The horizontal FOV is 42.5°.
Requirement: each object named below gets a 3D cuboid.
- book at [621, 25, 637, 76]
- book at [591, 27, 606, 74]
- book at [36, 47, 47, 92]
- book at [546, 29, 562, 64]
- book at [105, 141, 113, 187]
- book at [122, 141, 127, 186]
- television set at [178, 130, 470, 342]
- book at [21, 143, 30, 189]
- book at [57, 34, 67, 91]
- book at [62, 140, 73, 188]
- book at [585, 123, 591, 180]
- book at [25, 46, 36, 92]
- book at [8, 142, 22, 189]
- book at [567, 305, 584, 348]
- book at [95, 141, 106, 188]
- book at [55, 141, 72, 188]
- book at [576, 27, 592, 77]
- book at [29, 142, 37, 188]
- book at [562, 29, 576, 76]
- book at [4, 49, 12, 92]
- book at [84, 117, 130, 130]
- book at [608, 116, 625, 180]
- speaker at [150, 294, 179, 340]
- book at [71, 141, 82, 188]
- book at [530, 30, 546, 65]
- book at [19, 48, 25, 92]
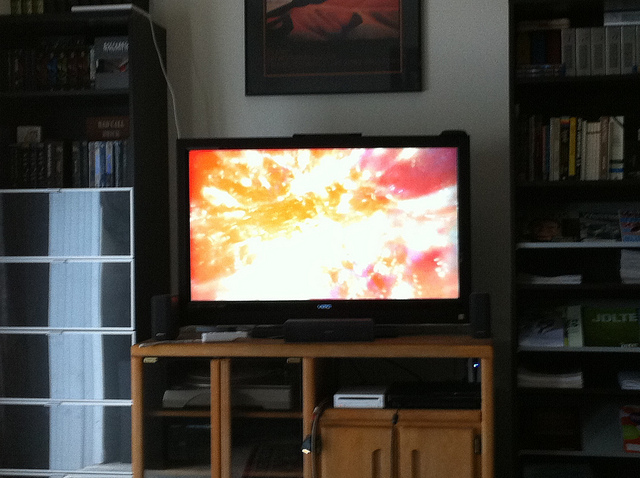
[{"bbox_3d":[1.431,-0.885,3.802,0.069,0.026,0.221,2,-85,0],"label":"book"},{"bbox_3d":[1.296,-0.870,3.829,0.078,0.021,0.209,-7,-79,-17],"label":"book"},{"bbox_3d":[-1.411,-0.865,4.142,0.048,0.023,0.225,-1,-78,-19],"label":"book"},{"bbox_3d":[1.109,-0.914,3.886,0.074,0.018,0.177,9,-53,28],"label":"book"},{"bbox_3d":[-1.046,-0.373,4.056,0.036,0.156,0.164,2,-88,-7],"label":"book"},{"bbox_3d":[-0.967,-0.376,4.051,0.027,0.037,0.219,0,-85,1],"label":"book"},{"bbox_3d":[0.048,-0.026,3.955,0.935,0.254,0.754,0,-95,3],"label":"television set"},{"bbox_3d":[-1.473,-0.369,4.093,0.051,0.016,0.237,0,-91,-5],"label":"book"},{"bbox_3d":[-1.307,-0.902,4.134,0.060,0.030,0.276,-13,-40,-26],"label":"book"},{"bbox_3d":[-1.302,-0.375,4.227,0.068,0.483,0.105,-1,-104,-17],"label":"book"},{"bbox_3d":[1.257,-0.415,3.840,0.017,0.026,0.260,2,-85,0],"label":"book"},{"bbox_3d":[-1.465,-0.859,4.141,0.056,0.019,0.205,0,-85,0],"label":"book"},{"bbox_3d":[-1.529,-0.370,4.102,0.082,0.046,0.219,1,-85,0],"label":"book"},{"bbox_3d":[1.207,0.415,3.902,0.072,0.235,0.057,-6,-41,20],"label":"book"},{"bbox_3d":[-1.084,-0.370,4.044,0.041,0.173,0.174,1,-85,-6],"label":"book"},{"bbox_3d":[-1.332,-0.383,4.185,0.092,0.289,0.253,3,-83,-10],"label":"book"},{"bbox_3d":[1.233,-0.879,3.829,0.071,0.031,0.214,0,-85,0],"label":"book"},{"bbox_3d":[-1.428,-0.371,4.076,0.042,0.012,0.217,0,-85,0],"label":"book"},{"bbox_3d":[1.166,-0.881,3.841,0.055,0.034,0.210,-2,-85,1],"label":"book"},{"bbox_3d":[-1.584,-0.858,4.163,0.045,0.023,0.203,0,-85,0],"label":"book"},{"bbox_3d":[-1.118,-0.609,4.295,0.193,0.014,0.074,-3,-85,6],"label":"book"},{"bbox_3d":[1.417,-0.432,3.849,0.069,0.091,0.303,4,-88,-37],"label":"book"},{"bbox_3d":[-0.737,0.382,3.913,0.126,0.123,0.191,-2,-81,-7],"label":"speaker"},{"bbox_3d":[-1.215,-0.371,4.092,0.047,0.055,0.249,-2,-86,-19],"label":"book"},{"bbox_3d":[1.044,-0.918,3.903,0.078,0.018,0.193,6,-44,23],"label":"book"},{"bbox_3d":[-1.510,-0.858,4.147,0.029,0.027,0.209,1,-85,0],"label":"book"}]
